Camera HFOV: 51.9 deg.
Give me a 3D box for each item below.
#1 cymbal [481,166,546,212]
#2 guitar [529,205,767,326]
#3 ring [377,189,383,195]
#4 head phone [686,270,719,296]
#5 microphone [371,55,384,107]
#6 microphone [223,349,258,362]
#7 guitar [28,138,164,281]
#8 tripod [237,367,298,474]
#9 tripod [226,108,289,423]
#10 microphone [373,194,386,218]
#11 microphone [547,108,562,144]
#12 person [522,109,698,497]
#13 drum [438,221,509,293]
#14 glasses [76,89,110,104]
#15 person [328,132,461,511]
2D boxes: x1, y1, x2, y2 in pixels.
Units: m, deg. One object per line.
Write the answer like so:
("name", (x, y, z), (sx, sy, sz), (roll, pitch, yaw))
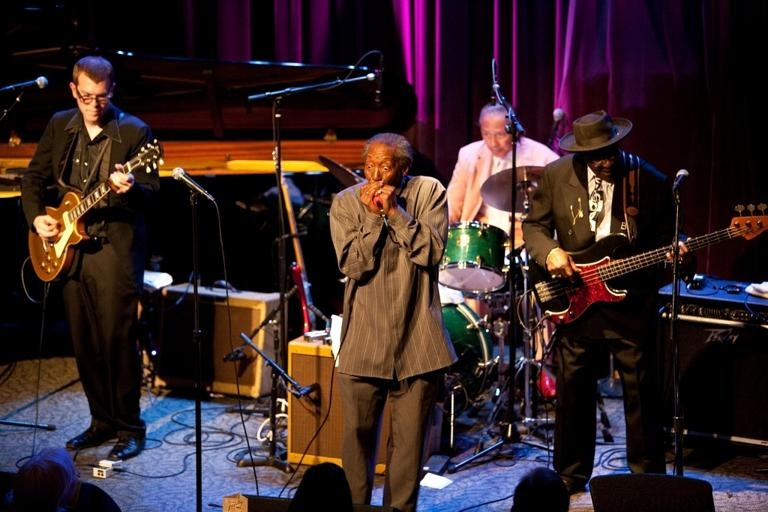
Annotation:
("cymbal", (0.966, -0.541, 6.088), (0.383, 0.395, 0.257), (-25, 35, 24))
("guitar", (1.517, 0.075, 5.013), (1.802, 0.613, 0.200), (-17, -3, 20))
("ring", (-0.025, -0.363, 4.417), (0.031, 0.034, 0.012), (2, 5, 17))
("head phone", (2.261, 0.203, 5.634), (0.236, 0.066, 0.245), (-3, 20, 13))
("microphone", (-0.049, -1.247, 5.573), (0.089, 0.324, 0.067), (4, 34, 4))
("microphone", (-1.135, 0.768, 6.095), (0.214, 0.105, 0.135), (3, -17, -43))
("guitar", (-1.984, -0.276, 5.399), (1.224, 0.935, 0.369), (5, 6, 42))
("tripod", (-0.862, 1.187, 5.601), (0.375, 0.558, 0.484), (0, 5, -14))
("tripod", (-0.954, 0.057, 5.984), (0.503, 2.512, 1.545), (0, 5, -11))
("microphone", (-0.027, -0.282, 4.436), (0.042, 0.112, 0.062), (-12, -38, -7))
("microphone", (1.461, -1.118, 6.780), (0.085, 0.312, 0.080), (-18, 35, -41))
("person", (1.405, 0.352, 5.076), (0.993, 2.539, 0.800), (2, 13, 22))
("drum", (0.666, -0.012, 5.860), (0.482, 0.369, 0.500), (8, -28, 4))
("glasses", (-1.988, -1.077, 5.393), (0.203, 0.084, 0.092), (-1, 5, -23))
("person", (0.047, 0.367, 4.570), (0.728, 2.141, 0.403), (0, 5, -5))
